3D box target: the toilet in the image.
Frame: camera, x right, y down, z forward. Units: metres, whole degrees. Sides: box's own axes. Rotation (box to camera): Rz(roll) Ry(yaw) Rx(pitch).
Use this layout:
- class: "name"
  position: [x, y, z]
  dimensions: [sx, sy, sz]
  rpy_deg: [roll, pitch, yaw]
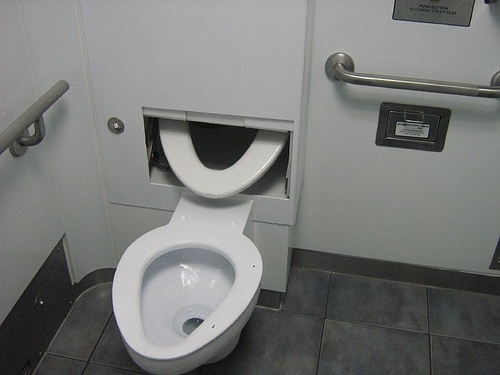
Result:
- class: "toilet"
  position: [-0.179, 0.308, 1.386]
  dimensions: [0.511, 0.810, 0.742]
  rpy_deg: [7, 33, 9]
